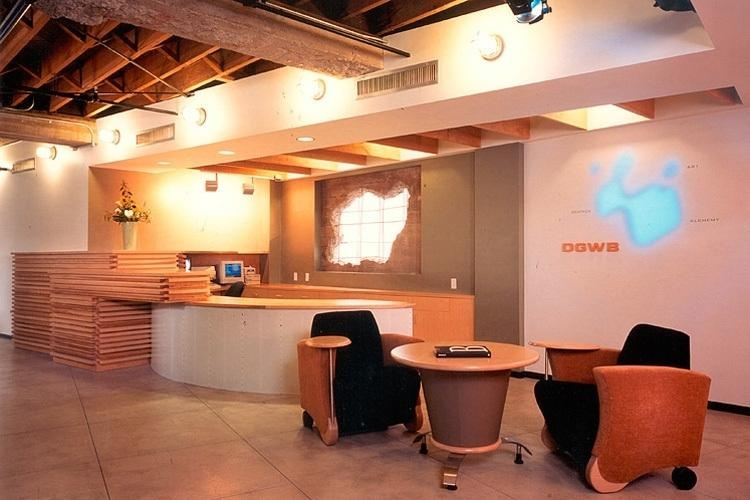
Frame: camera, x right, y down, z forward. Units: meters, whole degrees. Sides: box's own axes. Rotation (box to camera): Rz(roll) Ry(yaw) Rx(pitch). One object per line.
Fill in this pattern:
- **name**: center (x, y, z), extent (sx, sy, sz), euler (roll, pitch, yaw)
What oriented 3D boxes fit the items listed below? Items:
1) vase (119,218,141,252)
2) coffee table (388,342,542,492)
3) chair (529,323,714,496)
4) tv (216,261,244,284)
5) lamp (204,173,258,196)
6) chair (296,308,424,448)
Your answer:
- **vase**: center (-3.628, -0.216, 8.234), extent (0.420, 0.473, 0.402), euler (2, 2, 9)
- **coffee table**: center (0.861, 1.614, 5.412), extent (1.438, 0.978, 1.400), euler (-4, -12, 27)
- **chair**: center (2.390, 1.406, 5.532), extent (1.619, 1.649, 1.425), euler (2, -3, -12)
- **tv**: center (-2.835, 0.433, 10.550), extent (0.469, 0.380, 0.466), euler (1, -2, -43)
- **lamp**: center (-2.774, -1.236, 10.234), extent (0.743, 0.381, 1.419), euler (3, 7, 21)
- **chair**: center (-0.154, 1.317, 5.906), extent (1.350, 1.191, 1.166), euler (1, -1, -36)
